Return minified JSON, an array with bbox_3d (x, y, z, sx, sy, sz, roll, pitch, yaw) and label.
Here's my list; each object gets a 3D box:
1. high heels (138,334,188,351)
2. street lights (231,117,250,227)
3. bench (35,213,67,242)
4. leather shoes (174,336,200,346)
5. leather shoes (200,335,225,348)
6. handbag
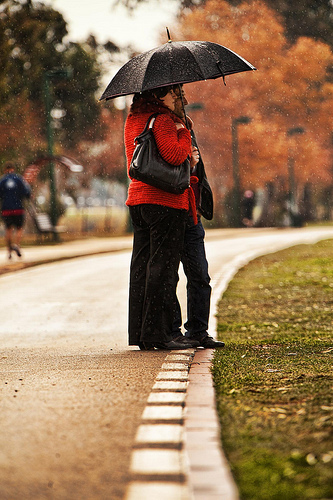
[{"bbox_3d":[0.001,0.583,4.098,0.325,0.128,0.108,-5,-1,2],"label":"high heels"},{"bbox_3d":[2.925,-3.123,25.737,0.948,0.329,4.720,3,-38,12],"label":"street lights"},{"bbox_3d":[-3.514,-0.684,19.602,0.786,0.828,2.999,-4,1,-9],"label":"bench"},{"bbox_3d":[0.133,0.575,4.212,0.166,0.062,0.055,8,12,18],"label":"leather shoes"},{"bbox_3d":[0.290,0.584,4.158,0.166,0.072,0.063,0,-1,4],"label":"leather shoes"},{"bbox_3d":[-0.016,-0.584,3.825,0.372,0.462,0.150,15,-14,-24],"label":"handbag"}]
